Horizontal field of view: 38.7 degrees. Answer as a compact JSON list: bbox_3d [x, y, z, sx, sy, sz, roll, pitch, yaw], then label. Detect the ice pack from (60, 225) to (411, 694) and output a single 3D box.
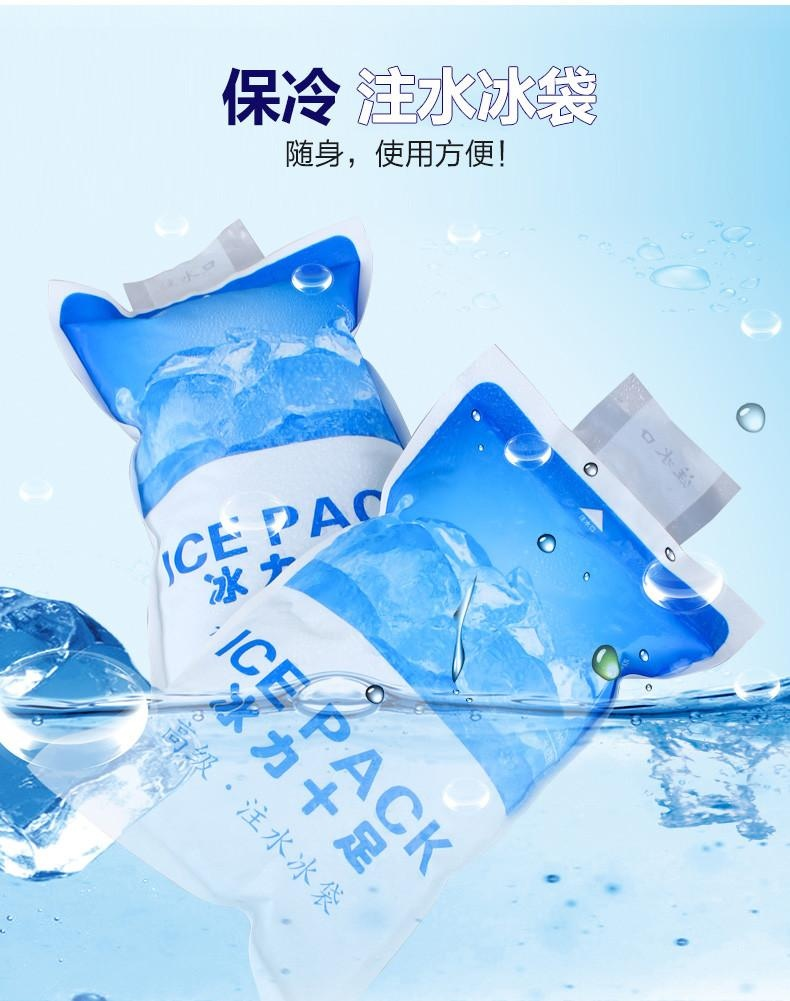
[{"bbox_3d":[-0.270,-0.070,2.344,0.698,0.815,0.209,-23,-12,-5],"label":"ice pack"}]
